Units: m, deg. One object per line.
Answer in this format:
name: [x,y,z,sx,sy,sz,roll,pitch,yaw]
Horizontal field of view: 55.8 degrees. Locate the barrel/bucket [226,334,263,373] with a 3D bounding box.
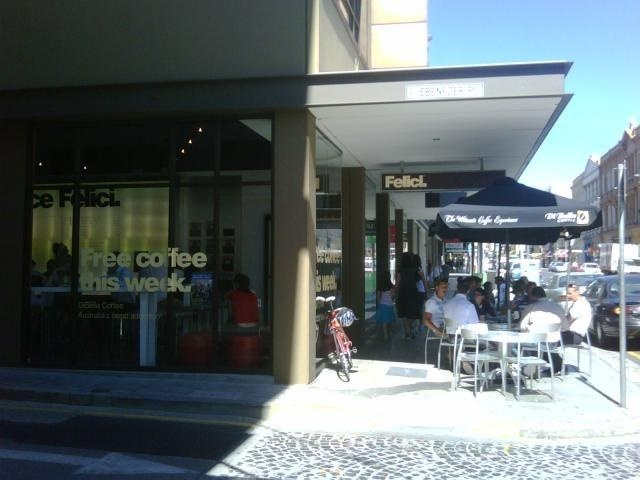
barrel/bucket: [-1.362,1.866,10.990,0.636,0.664,0.677,3,22,-1]

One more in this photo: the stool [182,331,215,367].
stool: [-2.217,1.945,10.959,0.551,0.643,0.581,1,-5,6]

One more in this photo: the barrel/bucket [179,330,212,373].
barrel/bucket: [-2.222,1.964,10.909,0.592,0.701,0.590,0,-1,0]

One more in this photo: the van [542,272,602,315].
van: [6.402,1.319,15.227,1.088,0.865,2.541,-2,4,9]

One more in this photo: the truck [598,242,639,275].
truck: [13.570,0.805,27.368,1.576,1.794,3.089,0,-5,13]

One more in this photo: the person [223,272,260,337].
person: [-1.363,1.137,10.794,0.550,1.031,0.251,-1,5,-7]

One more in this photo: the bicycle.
bicycle: [0.314,1.732,11.442,0.958,1.405,2.131,-11,-4,-3]
